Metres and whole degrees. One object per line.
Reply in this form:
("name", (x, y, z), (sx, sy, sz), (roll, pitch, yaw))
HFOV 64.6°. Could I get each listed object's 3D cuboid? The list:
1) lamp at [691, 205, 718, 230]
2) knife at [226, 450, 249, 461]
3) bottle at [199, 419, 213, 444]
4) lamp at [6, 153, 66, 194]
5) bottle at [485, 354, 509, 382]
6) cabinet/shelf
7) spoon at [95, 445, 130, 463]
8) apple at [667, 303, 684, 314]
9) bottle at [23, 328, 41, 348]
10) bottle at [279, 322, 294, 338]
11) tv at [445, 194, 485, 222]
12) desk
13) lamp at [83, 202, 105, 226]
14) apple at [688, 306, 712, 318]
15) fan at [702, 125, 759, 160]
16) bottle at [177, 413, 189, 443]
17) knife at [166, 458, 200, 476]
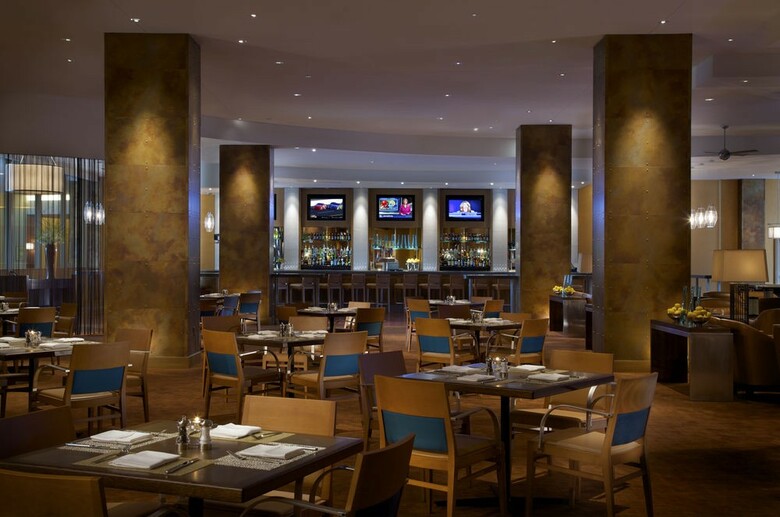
("lamp", (9.213, -1.187, 18.001), (0.423, 0.614, 1.347), (2, -2, 11))
("knife", (-0.911, 1.188, 3.708), (0.142, 0.025, 0.055), (-3, -3, 41))
("bottle", (-1.163, 1.089, 3.895), (0.071, 0.146, 0.176), (0, -2, -18))
("lamp", (-7.798, -1.825, 13.778), (0.878, 0.922, 0.880), (1, -4, -4))
("bottle", (0.955, 0.939, 5.344), (0.191, 0.192, 0.147), (-1, 3, -38))
("cabinet/shelf", (-0.078, -0.322, 21.247), (7.225, 1.576, 1.301), (-1, -2, -5))
("spoon", (-1.677, 1.194, 3.746), (0.049, 0.024, 0.179), (0, 0, 8))
("apple", (4.099, 0.731, 8.775), (0.225, 0.094, 0.228), (0, 11, 37))
("bottle", (-3.826, 0.860, 6.558), (0.179, 0.191, 0.173), (1, -3, -4))
("bottle", (-1.222, 0.830, 7.164), (0.180, 0.163, 0.116), (0, 0, 30))
("tv", (2.622, -1.746, 21.435), (1.032, 0.662, 0.102), (1, -3, -1))
("desk", (4.136, 1.389, 8.351), (0.445, 0.646, 1.109), (0, -3, 9))
("lamp", (-6.753, -0.995, 14.075), (0.370, 0.520, 0.116), (1, -2, -40))
("apple", (4.205, 0.739, 8.318), (0.220, 0.108, 0.190), (0, -1, -35))
("fan", (8.366, -2.838, 15.411), (1.525, 0.745, 1.470), (4, 19, 29))
("bottle", (-1.312, 1.082, 3.929), (0.065, 0.159, 0.181), (0, -2, -19))
("knife", (-1.204, 1.209, 3.578), (0.048, 0.027, 0.193), (-1, 3, 12))
